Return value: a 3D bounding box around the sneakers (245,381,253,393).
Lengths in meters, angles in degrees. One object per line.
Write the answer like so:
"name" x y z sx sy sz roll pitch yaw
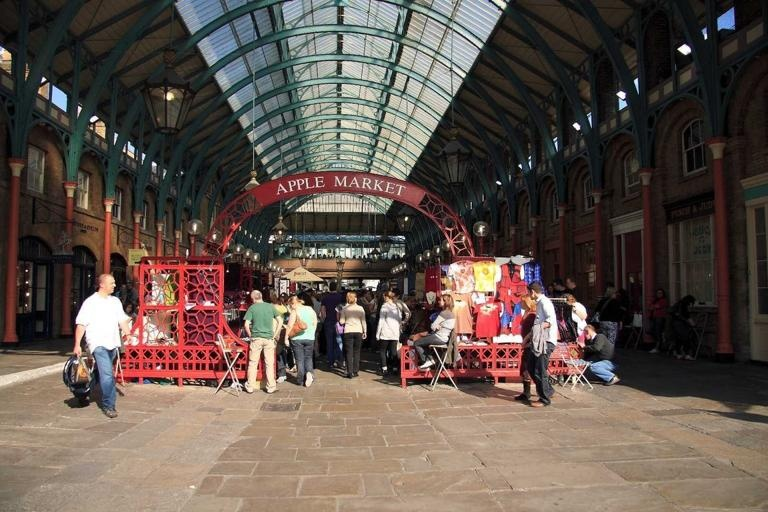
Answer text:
"sneakers" -3.018 2.925 12.155 0.196 0.222 0.461 0 -1 -15

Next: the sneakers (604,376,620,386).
"sneakers" 5.402 2.947 12.717 0.480 0.217 0.160 11 -30 -41

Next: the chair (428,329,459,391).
"chair" 1.401 2.428 12.717 0.781 1.192 0.810 -3 -3 -16

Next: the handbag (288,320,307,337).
"handbag" -2.081 1.739 13.050 0.300 0.344 0.138 -21 -13 -7

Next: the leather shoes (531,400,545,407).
"leather shoes" 3.058 2.916 10.756 0.280 0.098 0.392 0 -1 10

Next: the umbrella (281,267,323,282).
"umbrella" -6.054 1.275 39.461 1.609 0.740 2.288 0 -10 -2

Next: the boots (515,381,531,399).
"boots" 2.866 2.766 11.209 0.369 0.448 0.231 -1 -1 43

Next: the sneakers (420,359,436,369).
"sneakers" 0.989 2.537 12.572 0.422 0.184 0.146 -5 -17 19

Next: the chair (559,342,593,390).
"chair" 4.514 2.617 12.755 0.899 1.368 0.792 -4 -9 35

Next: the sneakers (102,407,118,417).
"sneakers" -4.921 2.844 9.768 0.301 0.111 0.127 4 -6 43

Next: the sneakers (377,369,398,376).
"sneakers" 0.099 3.117 14.623 0.593 0.257 0.202 -3 -11 32

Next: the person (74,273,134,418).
"person" -5.209 1.629 10.000 0.874 2.569 0.805 0 -1 -22
